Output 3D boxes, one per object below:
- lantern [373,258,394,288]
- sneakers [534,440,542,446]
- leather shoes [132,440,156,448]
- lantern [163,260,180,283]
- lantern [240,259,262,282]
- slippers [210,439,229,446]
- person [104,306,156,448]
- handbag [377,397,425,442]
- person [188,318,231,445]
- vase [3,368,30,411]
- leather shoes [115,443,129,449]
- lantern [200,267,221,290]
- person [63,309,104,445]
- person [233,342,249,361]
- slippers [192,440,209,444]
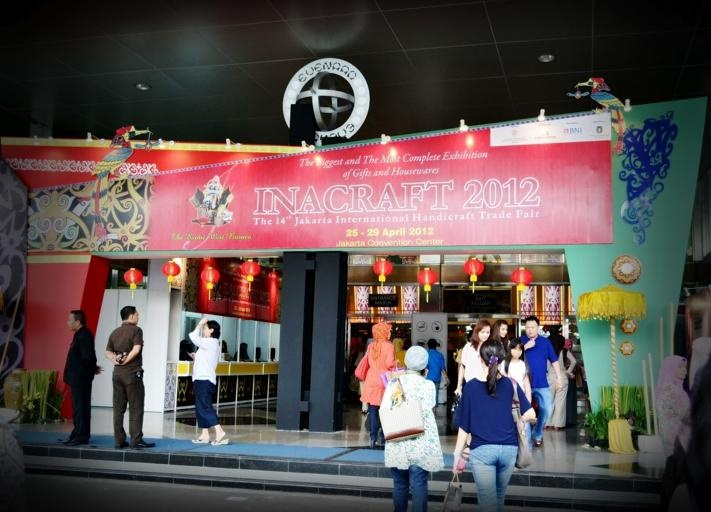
[{"bbox_3d":[0.528,0.239,10.858,0.286,0.504,0.502,-2,-13,9],"label":"lantern"},{"bbox_3d":[2.738,2.806,8.565,0.104,0.057,0.138,-1,-2,10],"label":"sneakers"},{"bbox_3d":[-2.952,2.605,7.965,0.280,0.130,0.105,5,-10,-19],"label":"leather shoes"},{"bbox_3d":[-3.830,0.333,11.991,0.426,0.519,0.427,1,-2,-5],"label":"lantern"},{"bbox_3d":[-2.272,0.251,12.420,0.317,0.484,0.568,1,-12,-4],"label":"lantern"},{"bbox_3d":[-1.979,2.715,8.314,0.180,0.076,0.109,6,-12,-9],"label":"slippers"},{"bbox_3d":[-3.196,1.688,8.079,0.669,1.963,0.513,5,-13,-23],"label":"person"},{"bbox_3d":[0.408,1.387,4.866,0.382,0.409,0.141,-14,-10,0],"label":"handbag"},{"bbox_3d":[-2.260,1.903,8.828,0.608,1.859,1.464,3,-13,-13],"label":"person"},{"bbox_3d":[-6.001,2.351,10.052,0.494,0.700,0.230,-1,-12,5],"label":"vase"},{"bbox_3d":[-3.229,2.620,7.912,0.192,0.062,0.152,9,-16,-36],"label":"leather shoes"},{"bbox_3d":[-3.369,0.547,12.978,0.504,0.633,0.558,0,4,0],"label":"lantern"},{"bbox_3d":[-4.016,1.744,8.380,0.490,1.920,0.489,6,-13,-26],"label":"person"},{"bbox_3d":[-3.107,2.645,15.823,0.251,0.509,0.813,-2,-13,10],"label":"person"},{"bbox_3d":[-2.291,2.728,8.389,0.181,0.059,0.109,3,-11,16],"label":"slippers"}]
